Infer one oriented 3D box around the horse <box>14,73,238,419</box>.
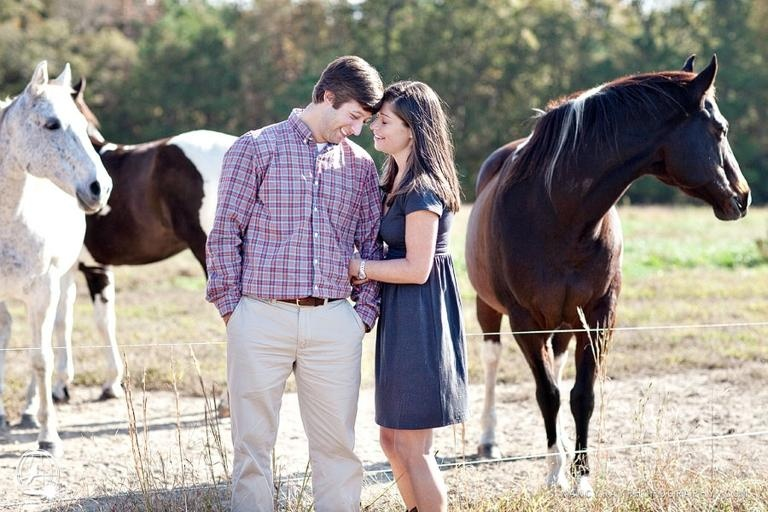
[{"bbox_3d":[-4.805,-0.178,27.157,7.726,6.104,2.125,-7,-1,30],"label":"horse"}]
